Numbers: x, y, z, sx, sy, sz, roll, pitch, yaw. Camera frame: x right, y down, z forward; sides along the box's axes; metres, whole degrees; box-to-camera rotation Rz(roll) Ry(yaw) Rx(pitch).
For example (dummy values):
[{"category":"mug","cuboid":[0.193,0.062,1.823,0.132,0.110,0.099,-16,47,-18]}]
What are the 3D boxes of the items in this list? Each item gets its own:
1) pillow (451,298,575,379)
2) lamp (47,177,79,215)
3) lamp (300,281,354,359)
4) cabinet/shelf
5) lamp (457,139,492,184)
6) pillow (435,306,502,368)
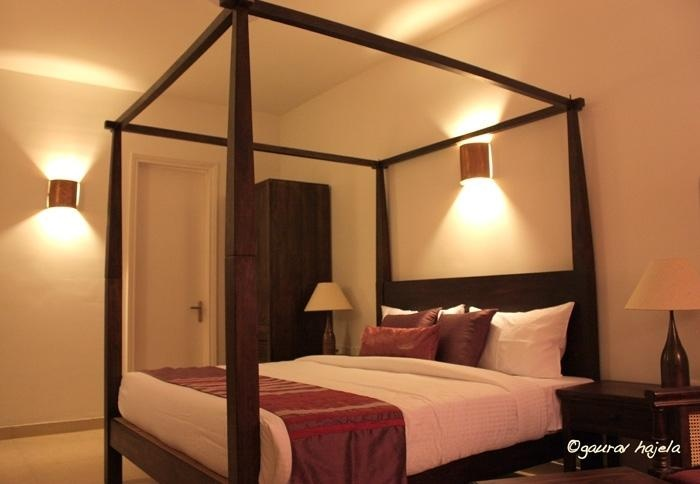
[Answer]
[{"category":"pillow","cuboid":[1.438,0.868,4.672,0.316,0.594,0.859,4,-11,-26]},{"category":"lamp","cuboid":[-3.172,-0.510,6.241,0.282,0.327,0.292,-7,-9,29]},{"category":"lamp","cuboid":[-0.248,0.905,6.516,0.551,0.871,0.551,1,-9,-13]},{"category":"cabinet/shelf","cuboid":[-0.687,0.568,7.048,0.745,2.630,0.536,5,4,-13]},{"category":"lamp","cuboid":[1.162,-0.740,5.231,0.323,0.373,0.325,-2,-2,-14]},{"category":"pillow","cuboid":[0.915,0.875,4.930,0.369,0.594,0.656,2,-8,-29]}]
